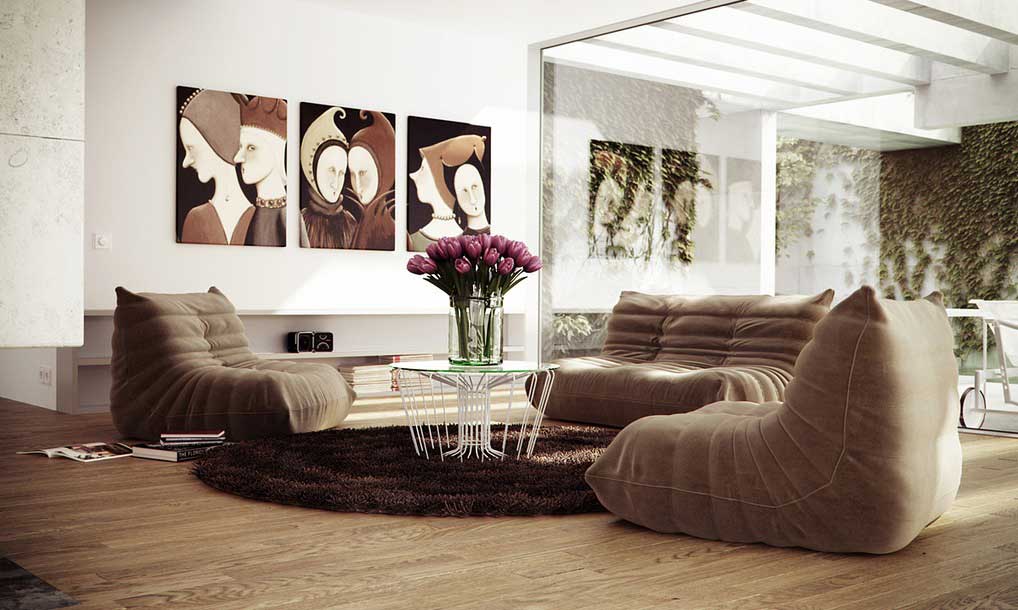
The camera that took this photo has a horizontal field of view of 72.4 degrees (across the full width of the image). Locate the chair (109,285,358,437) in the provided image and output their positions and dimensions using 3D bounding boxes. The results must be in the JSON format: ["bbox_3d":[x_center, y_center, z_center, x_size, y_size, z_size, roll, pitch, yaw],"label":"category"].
[{"bbox_3d":[-2.097,0.526,5.475,1.414,0.927,1.412,0,-7,12],"label":"chair"}]

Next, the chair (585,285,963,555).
[{"bbox_3d":[1.402,0.539,3.522,1.345,0.914,1.348,-3,-7,31],"label":"chair"}]

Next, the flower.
[{"bbox_3d":[-0.231,-0.261,4.698,0.745,0.450,0.781,-11,13,-44],"label":"flower"}]

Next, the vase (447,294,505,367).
[{"bbox_3d":[-0.202,0.163,4.667,0.412,0.437,0.404,0,-2,22],"label":"vase"}]

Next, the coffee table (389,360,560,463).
[{"bbox_3d":[-0.222,0.738,4.950,1.202,0.558,1.129,2,-4,-28],"label":"coffee table"}]
